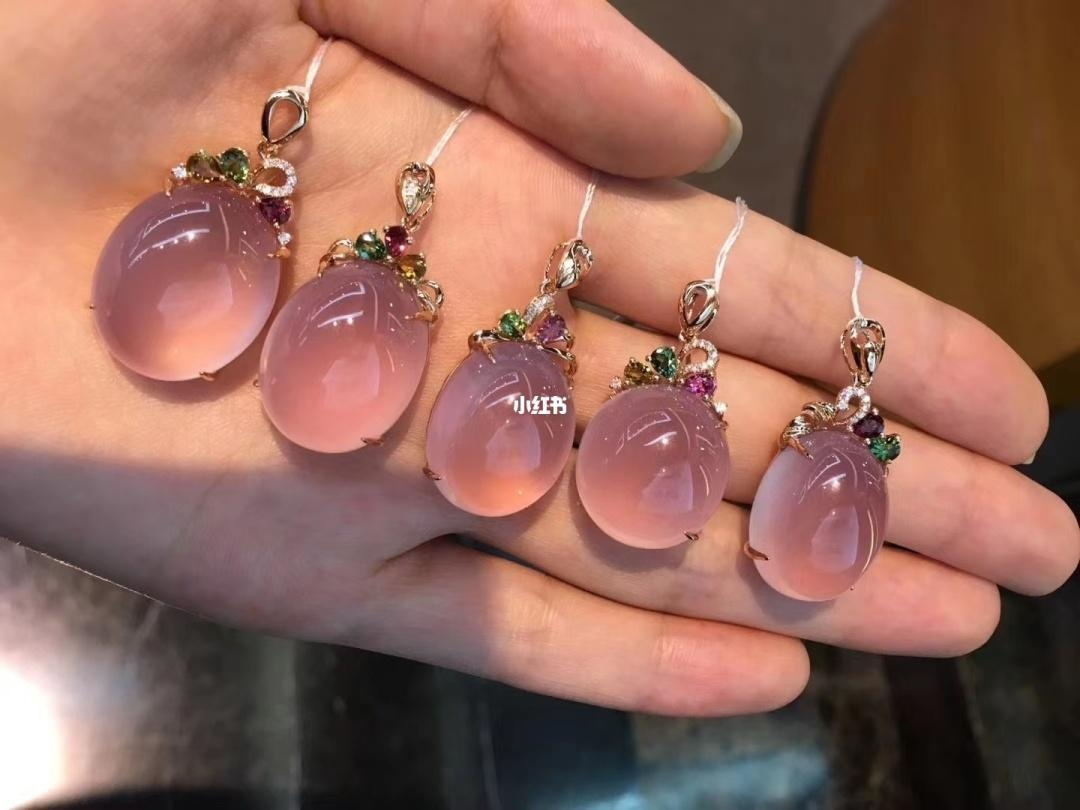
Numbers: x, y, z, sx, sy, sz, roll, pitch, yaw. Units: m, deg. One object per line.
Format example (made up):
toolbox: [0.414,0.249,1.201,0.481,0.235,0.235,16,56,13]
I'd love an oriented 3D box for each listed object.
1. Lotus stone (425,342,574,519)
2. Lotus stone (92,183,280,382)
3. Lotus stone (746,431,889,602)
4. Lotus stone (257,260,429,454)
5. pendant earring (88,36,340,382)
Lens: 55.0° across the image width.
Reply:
Lotus stone: [-0.120,0.025,2.764,0.329,0.275,0.514,2,93,-18]
Lotus stone: [-0.892,-0.321,2.652,0.362,0.264,0.535,18,85,-8]
Lotus stone: [0.766,0.294,2.859,0.360,0.228,0.423,36,68,13]
Lotus stone: [-0.491,-0.160,2.654,0.347,0.262,0.505,29,87,-4]
pendant earring: [-0.875,-0.536,2.839,0.375,0.332,0.951,28,73,-22]
